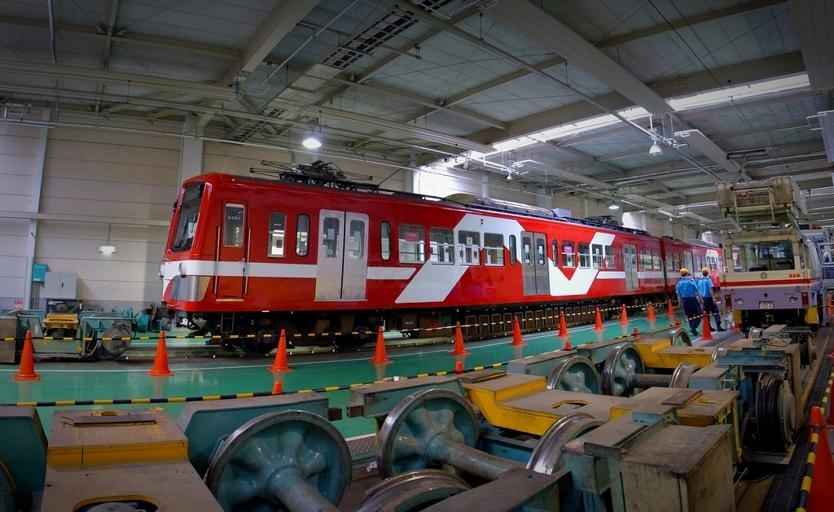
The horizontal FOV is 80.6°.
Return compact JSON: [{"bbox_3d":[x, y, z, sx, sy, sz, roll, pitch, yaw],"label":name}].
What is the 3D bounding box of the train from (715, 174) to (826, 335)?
[{"bbox_3d":[9.819,0.043,13.887,2.153,4.054,2.638,-7,-9,32],"label":"train"}]
